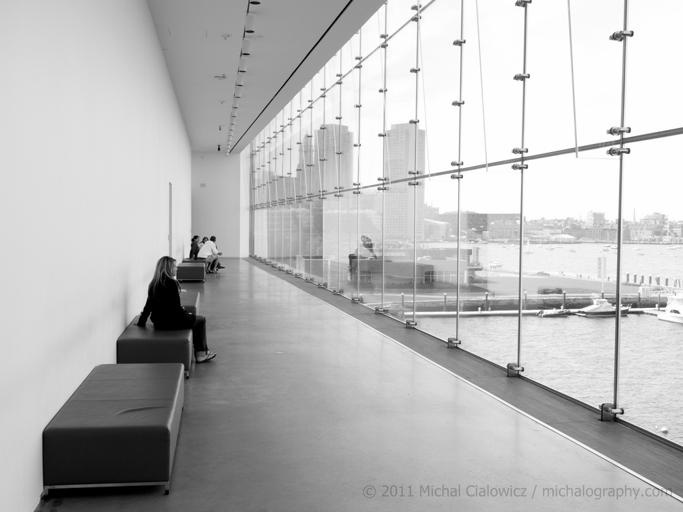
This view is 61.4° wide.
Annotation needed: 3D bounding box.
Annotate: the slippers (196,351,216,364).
[{"bbox_3d":[-1.824,1.344,7.715,0.257,0.192,0.095,-7,7,-26],"label":"slippers"}]
